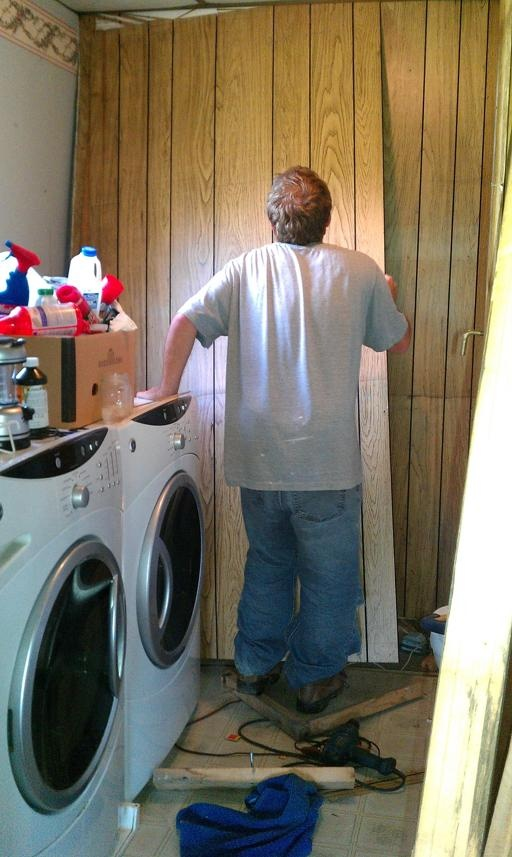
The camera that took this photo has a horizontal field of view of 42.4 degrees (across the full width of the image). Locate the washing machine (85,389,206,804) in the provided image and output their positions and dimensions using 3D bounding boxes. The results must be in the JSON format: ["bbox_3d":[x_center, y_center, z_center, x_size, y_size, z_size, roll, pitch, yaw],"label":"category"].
[{"bbox_3d":[-0.334,0.434,1.770,0.327,0.825,0.408,4,8,24],"label":"washing machine"}]

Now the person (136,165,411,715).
[{"bbox_3d":[0.119,0.085,2.238,0.587,2.093,0.709,0,5,7],"label":"person"}]

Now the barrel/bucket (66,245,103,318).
[{"bbox_3d":[-0.478,-0.420,1.856,0.108,0.281,0.136,-2,15,-9],"label":"barrel/bucket"}]

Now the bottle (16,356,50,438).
[{"bbox_3d":[-0.433,-0.069,1.302,0.038,0.170,0.071,2,10,2],"label":"bottle"}]

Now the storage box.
[{"bbox_3d":[-0.459,-0.119,1.590,0.157,0.248,0.341,1,9,10],"label":"storage box"}]
